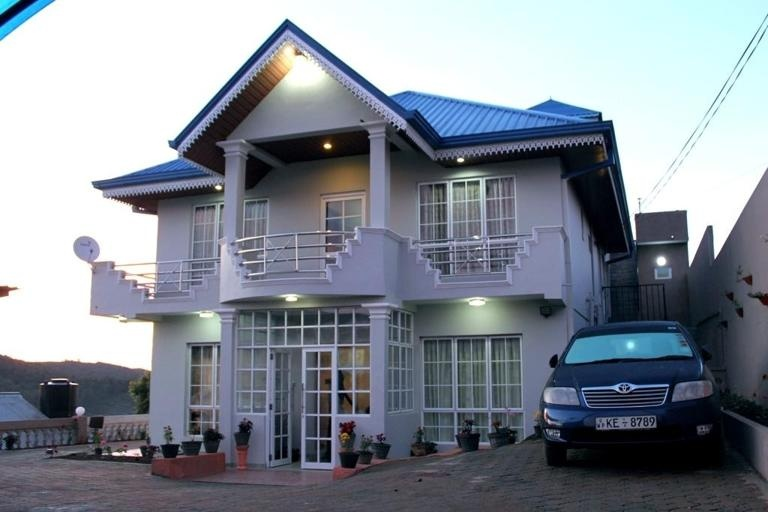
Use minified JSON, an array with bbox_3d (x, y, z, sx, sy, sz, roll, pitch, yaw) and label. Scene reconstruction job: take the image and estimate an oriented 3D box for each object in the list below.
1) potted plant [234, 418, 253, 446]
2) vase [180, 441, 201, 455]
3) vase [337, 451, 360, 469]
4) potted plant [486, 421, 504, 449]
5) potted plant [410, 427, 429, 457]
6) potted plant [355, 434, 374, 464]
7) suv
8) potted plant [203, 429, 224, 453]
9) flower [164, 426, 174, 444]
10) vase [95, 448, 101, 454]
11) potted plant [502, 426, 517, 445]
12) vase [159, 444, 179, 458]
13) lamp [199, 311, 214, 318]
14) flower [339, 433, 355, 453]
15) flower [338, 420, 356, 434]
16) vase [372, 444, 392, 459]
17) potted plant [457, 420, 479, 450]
[{"bbox_3d":[-3.579,4.515,16.823,0.399,0.685,0.385,-4,-9,15],"label":"potted plant"},{"bbox_3d":[-4.985,4.983,17.089,0.478,0.298,0.475,-1,1,-40],"label":"vase"},{"bbox_3d":[-0.774,4.520,14.568,0.393,0.293,0.327,4,-12,-18],"label":"vase"},{"bbox_3d":[2.735,4.354,16.063,0.396,0.608,0.383,1,-9,-12],"label":"potted plant"},{"bbox_3d":[0.897,4.774,16.808,0.499,0.829,0.488,-4,-15,22],"label":"potted plant"},{"bbox_3d":[-0.403,4.486,15.017,0.391,0.509,0.415,1,-4,8],"label":"potted plant"},{"bbox_3d":[4.019,2.362,10.952,2.729,2.241,1.676,-4,-10,13],"label":"suv"},{"bbox_3d":[-4.359,4.752,16.910,0.549,0.684,0.531,4,-15,-15],"label":"potted plant"},{"bbox_3d":[-6.109,5.128,18.763,0.282,0.542,1.527,2,-10,-18],"label":"flower"},{"bbox_3d":[-8.072,5.562,18.680,0.118,0.132,0.232,6,7,4],"label":"vase"},{"bbox_3d":[3.045,4.425,16.220,0.386,0.612,0.444,-1,-2,14],"label":"potted plant"},{"bbox_3d":[-5.346,4.991,16.787,0.528,0.352,0.544,-13,-21,37],"label":"vase"},{"bbox_3d":[-5.117,1.722,19.072,0.465,0.137,1.020,1,-10,-16],"label":"lamp"},{"bbox_3d":[-0.830,4.361,15.264,0.374,0.438,0.401,1,-14,-2],"label":"flower"},{"bbox_3d":[-0.825,4.027,15.504,0.318,0.205,0.337,-8,-6,17],"label":"flower"},{"bbox_3d":[-0.045,4.596,15.538,0.338,0.252,0.357,1,-4,-5],"label":"vase"},{"bbox_3d":[2.036,4.411,16.101,0.625,0.840,0.662,-1,-7,-2],"label":"potted plant"}]
